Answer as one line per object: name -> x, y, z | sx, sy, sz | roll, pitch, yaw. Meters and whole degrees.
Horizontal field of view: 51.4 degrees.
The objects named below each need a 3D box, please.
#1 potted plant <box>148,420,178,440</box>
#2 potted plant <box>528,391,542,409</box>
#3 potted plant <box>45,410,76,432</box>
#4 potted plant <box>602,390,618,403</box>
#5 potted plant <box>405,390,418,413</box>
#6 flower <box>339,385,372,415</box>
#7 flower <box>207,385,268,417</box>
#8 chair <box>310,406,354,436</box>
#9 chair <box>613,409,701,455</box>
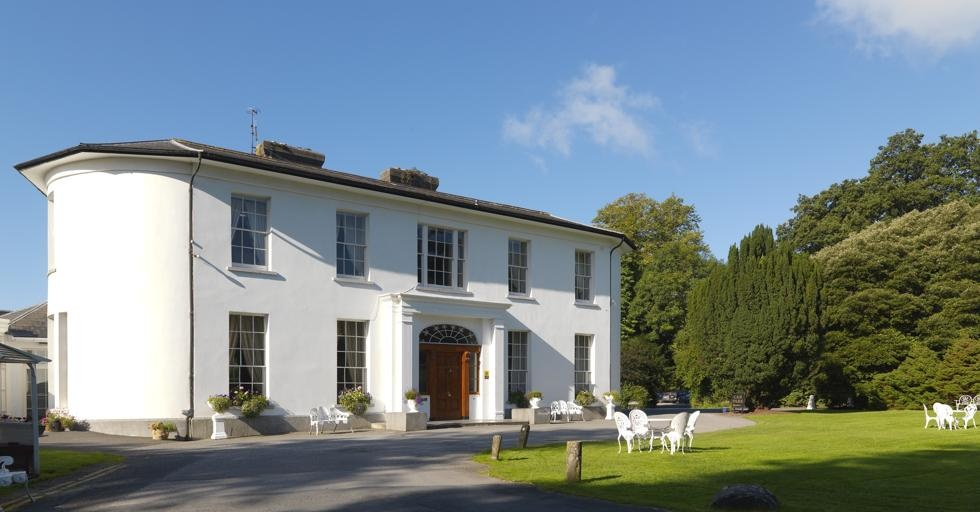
potted plant -> -15.858, 8.393, 49.580 | 1.217, 0.828, 0.310 | 3, -16, -20
potted plant -> 2.463, 7.942, 56.892 | 0.780, 1.040, 1.050 | -3, -15, 5
potted plant -> -21.244, 8.158, 50.733 | 1.341, 0.805, 1.176 | 3, -2, 7
potted plant -> 7.084, 8.163, 59.743 | 0.688, 0.588, 0.639 | 1, 0, 5
potted plant -> -4.040, 7.389, 52.669 | 0.655, 1.094, 0.474 | 0, -15, -9
flower -> -7.039, 7.450, 52.974 | 1.560, 0.934, 1.468 | 1, 3, -8
flower -> -12.568, 7.234, 50.752 | 1.971, 0.789, 1.831 | 2, 0, -22
chair -> -8.193, 8.233, 52.094 | 2.359, 1.387, 0.711 | 9, -19, -36
chair -> 7.803, 8.293, 48.151 | 3.663, 2.021, 3.014 | -3, -15, 4
